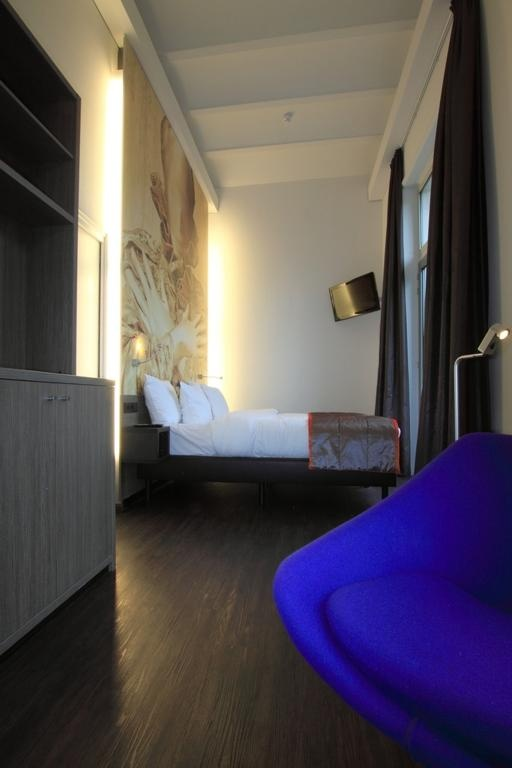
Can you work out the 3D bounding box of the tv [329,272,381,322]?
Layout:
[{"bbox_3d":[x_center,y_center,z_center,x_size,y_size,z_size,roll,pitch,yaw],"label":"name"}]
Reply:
[{"bbox_3d":[1.101,-0.981,5.662,0.549,0.479,0.193,0,0,17],"label":"tv"}]

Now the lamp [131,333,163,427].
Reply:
[{"bbox_3d":[-0.793,-0.022,3.652,0.111,1.030,0.175,-9,24,-16],"label":"lamp"}]
